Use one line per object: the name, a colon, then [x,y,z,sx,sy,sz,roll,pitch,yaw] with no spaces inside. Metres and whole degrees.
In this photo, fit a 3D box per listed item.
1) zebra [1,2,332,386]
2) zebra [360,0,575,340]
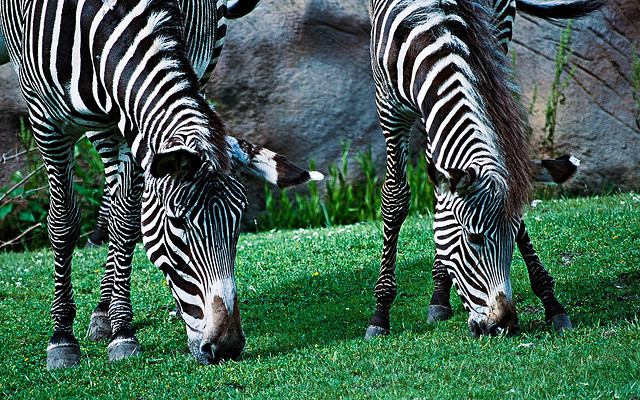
zebra: [-2.382,-0.253,10.379,2.762,4.912,4.588,-1,-5,-39]
zebra: [1.627,-0.539,9.983,1.959,4.559,1.061,-6,-4,32]
